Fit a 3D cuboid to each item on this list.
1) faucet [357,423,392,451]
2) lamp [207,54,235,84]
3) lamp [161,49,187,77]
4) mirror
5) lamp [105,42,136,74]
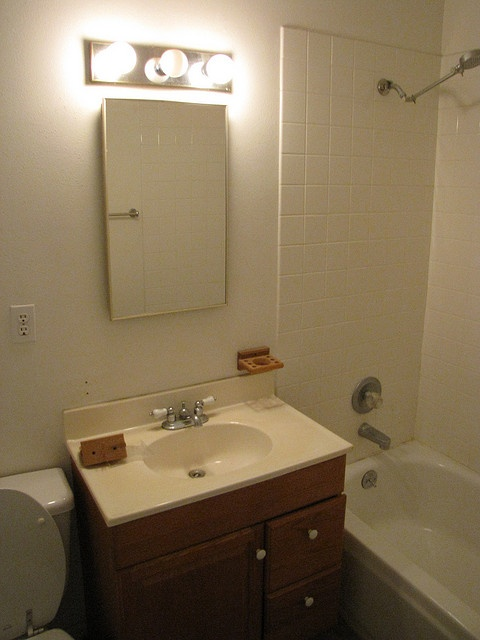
[{"bbox_3d":[0.574,0.495,2.147,0.085,0.038,0.151,-13,18,-23],"label":"faucet"},{"bbox_3d":[-0.060,-0.720,1.479,0.079,0.084,0.075,-9,25,-17],"label":"lamp"},{"bbox_3d":[-0.179,-0.709,1.422,0.065,0.066,0.117,2,14,11],"label":"lamp"},{"bbox_3d":[-0.212,-0.325,1.539,0.378,0.633,0.060,-7,26,-21],"label":"mirror"},{"bbox_3d":[-0.305,-0.677,1.313,0.068,0.084,0.069,-8,-1,-28],"label":"lamp"}]
